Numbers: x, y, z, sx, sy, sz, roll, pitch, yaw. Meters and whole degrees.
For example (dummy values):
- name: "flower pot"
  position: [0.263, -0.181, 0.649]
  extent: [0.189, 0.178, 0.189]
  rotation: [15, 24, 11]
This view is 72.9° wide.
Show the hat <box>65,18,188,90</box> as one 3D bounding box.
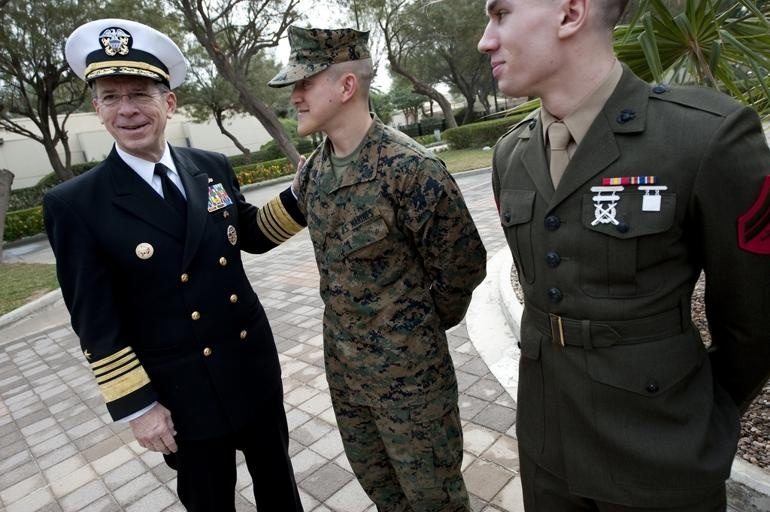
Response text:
- name: "hat"
  position: [-1.195, -0.946, 2.512]
  extent: [0.443, 0.176, 0.421]
  rotation: [-6, -20, 2]

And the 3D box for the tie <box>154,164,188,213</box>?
- name: "tie"
  position: [-1.002, -0.306, 2.510]
  extent: [0.087, 0.318, 0.052]
  rotation: [-27, -11, -14]

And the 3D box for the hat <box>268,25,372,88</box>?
- name: "hat"
  position: [-0.284, -0.905, 2.302]
  extent: [0.470, 0.244, 0.173]
  rotation: [-11, 18, -7]
